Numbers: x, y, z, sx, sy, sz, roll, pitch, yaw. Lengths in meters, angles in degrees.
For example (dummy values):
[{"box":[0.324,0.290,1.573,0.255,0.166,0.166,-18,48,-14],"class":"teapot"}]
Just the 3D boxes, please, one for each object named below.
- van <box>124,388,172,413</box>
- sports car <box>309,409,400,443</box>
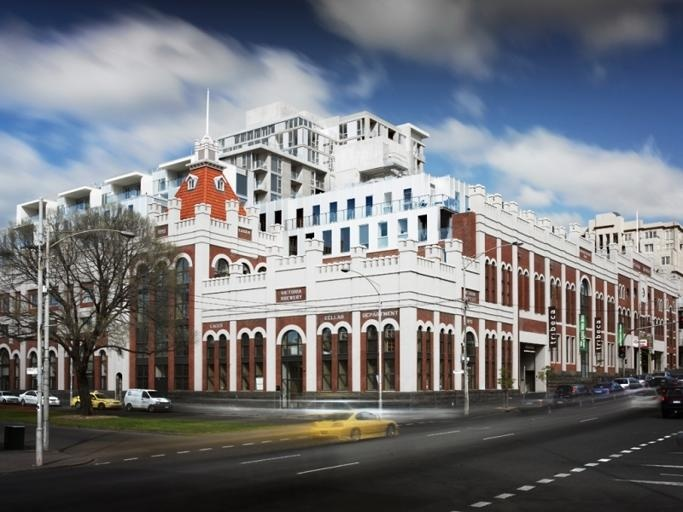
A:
[{"box":[-16.810,12.748,96.463,3.887,1.538,2.059,-12,-17,40],"class":"van"},{"box":[0.834,10.722,68.983,4.173,1.229,2.209,0,-3,-36],"class":"sports car"}]
